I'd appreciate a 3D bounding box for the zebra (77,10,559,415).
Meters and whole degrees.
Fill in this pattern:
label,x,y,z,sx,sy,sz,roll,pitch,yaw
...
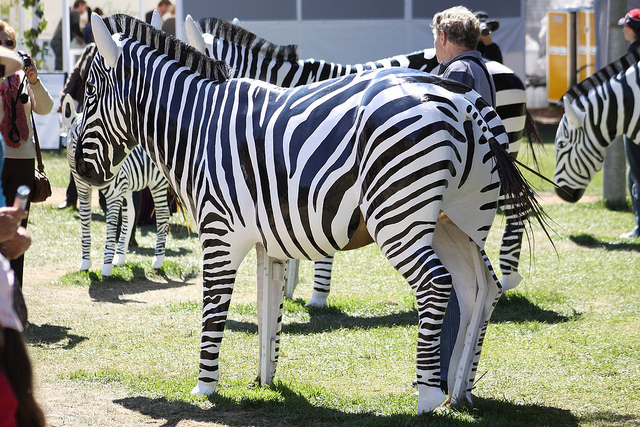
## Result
label,x,y,z,sx,sy,sz,roll,pitch,yaw
zebra,-0.254,-0.042,14.043,6.006,4.261,1.813,3,8,22

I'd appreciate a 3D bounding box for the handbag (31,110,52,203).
label,x,y,z,sx,sy,sz,roll,pitch,yaw
handbag,-3.444,-0.687,15.118,0.300,1.116,0.541,5,-1,-13

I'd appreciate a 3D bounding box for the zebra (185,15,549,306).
label,x,y,z,sx,sy,sz,roll,pitch,yaw
zebra,-0.327,-0.019,15.042,5.806,4.481,1.707,2,7,45

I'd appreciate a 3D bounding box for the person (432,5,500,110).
label,x,y,z,sx,sy,sz,roll,pitch,yaw
person,1.693,-1.839,14.318,0.633,1.150,0.745,2,19,11
